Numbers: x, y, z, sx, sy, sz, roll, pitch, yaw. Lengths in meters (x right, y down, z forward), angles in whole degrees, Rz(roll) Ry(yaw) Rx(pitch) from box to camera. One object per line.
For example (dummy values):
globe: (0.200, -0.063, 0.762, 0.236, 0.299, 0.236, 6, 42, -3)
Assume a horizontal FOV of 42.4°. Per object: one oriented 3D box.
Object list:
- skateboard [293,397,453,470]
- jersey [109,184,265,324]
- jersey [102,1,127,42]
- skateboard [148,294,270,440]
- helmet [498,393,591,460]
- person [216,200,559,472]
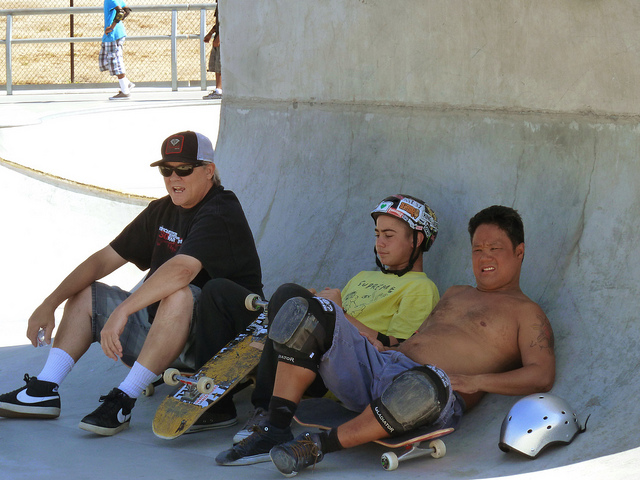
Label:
skateboard: (0.225, 0.920, 4.056, 0.293, 0.191, 0.794, -5, 8, -37)
jersey: (-0.738, 0.027, 4.918, 1.002, 0.922, 0.693, 2, -3, 45)
jersey: (-2.928, -3.113, 11.749, 0.306, 0.586, 0.444, 5, 4, -17)
skateboard: (-0.569, 0.653, 4.302, 0.197, 0.121, 0.820, 16, 49, 32)
helmet: (1.044, 0.875, 3.839, 0.339, 0.250, 0.246, 13, -16, -26)
person: (0.404, 0.455, 4.166, 1.526, 1.123, 1.042, -5, 9, -34)
